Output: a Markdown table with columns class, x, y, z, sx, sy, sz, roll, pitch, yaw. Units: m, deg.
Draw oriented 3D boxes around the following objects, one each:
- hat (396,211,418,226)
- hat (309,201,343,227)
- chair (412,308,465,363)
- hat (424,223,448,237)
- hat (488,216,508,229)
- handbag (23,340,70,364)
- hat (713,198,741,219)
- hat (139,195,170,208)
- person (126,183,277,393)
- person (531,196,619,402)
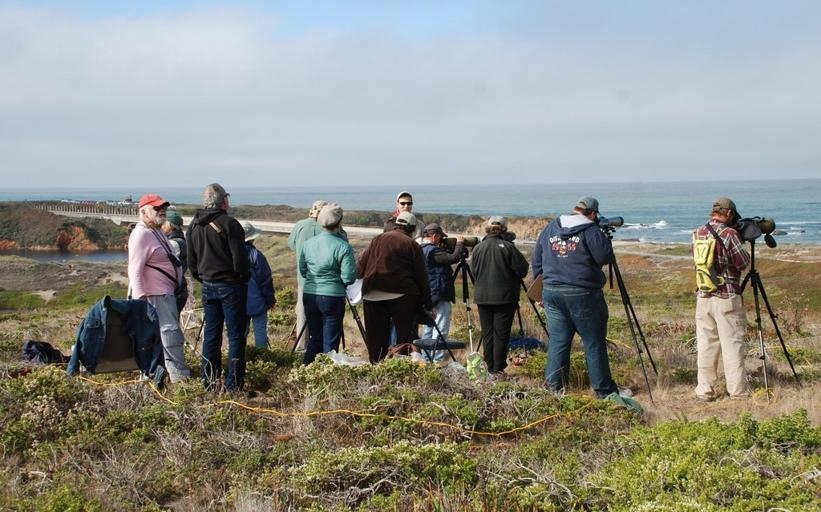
| class | x | y | z | sx | sy | sz | roll | pitch | yaw |
| --- | --- | --- | --- | --- | --- | --- | --- | --- | --- |
| hat | -0.063 | -0.635 | 12.819 | 0.330 | 0.237 | 0.538 | 8 | 0 | 12 |
| hat | -1.428 | -0.701 | 12.557 | 0.383 | 0.424 | 0.381 | -4 | 1 | -1 |
| chair | 0.588 | 1.486 | 13.324 | 0.806 | 1.071 | 0.639 | 0 | 5 | -6 |
| hat | 0.469 | -0.496 | 13.946 | 0.303 | 0.155 | 0.217 | -3 | 4 | -26 |
| hat | 1.477 | -0.619 | 13.319 | 0.308 | 0.224 | 0.512 | 6 | 4 | 27 |
| handbag | -6.317 | 1.669 | 12.387 | 0.457 | 0.245 | 0.559 | 4 | 0 | -44 |
| hat | 5.590 | -0.832 | 12.819 | 0.518 | 0.298 | 0.368 | -4 | 8 | -34 |
| hat | -4.261 | -0.887 | 11.903 | 0.400 | 0.146 | 0.257 | 1 | 5 | 4 |
| person | -3.148 | 0.516 | 11.887 | 0.968 | 3.431 | 0.554 | -4 | 1 | -9 |
| person | 2.804 | 0.692 | 12.229 | 1.206 | 2.954 | 0.540 | -3 | 1 | 14 |
